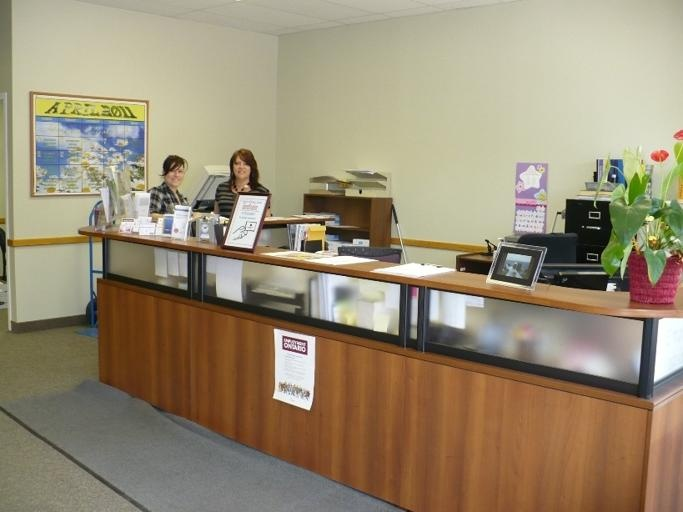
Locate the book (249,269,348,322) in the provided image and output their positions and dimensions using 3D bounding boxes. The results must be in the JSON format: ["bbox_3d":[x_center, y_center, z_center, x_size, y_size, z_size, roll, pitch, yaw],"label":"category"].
[{"bbox_3d":[-0.271,0.230,3.302,0.401,0.099,0.367,10,8,39],"label":"book"}]

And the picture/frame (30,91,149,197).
[{"bbox_3d":[-3.002,-1.320,6.080,1.448,1.212,0.050,-5,12,-35],"label":"picture/frame"}]

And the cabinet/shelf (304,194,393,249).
[{"bbox_3d":[0.116,-0.441,6.624,0.720,0.637,0.236,5,5,43],"label":"cabinet/shelf"}]

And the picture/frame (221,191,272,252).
[{"bbox_3d":[-0.670,-0.248,3.634,0.290,0.375,0.231,7,17,32],"label":"picture/frame"}]

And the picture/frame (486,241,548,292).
[{"bbox_3d":[0.927,0.056,2.741,0.034,0.284,0.247,10,2,-43],"label":"picture/frame"}]

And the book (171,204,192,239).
[{"bbox_3d":[-1.251,-0.268,4.071,0.194,0.237,0.134,9,17,37],"label":"book"}]

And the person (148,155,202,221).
[{"bbox_3d":[-1.716,-0.712,5.163,0.376,0.541,2.086,-6,15,-16],"label":"person"}]
